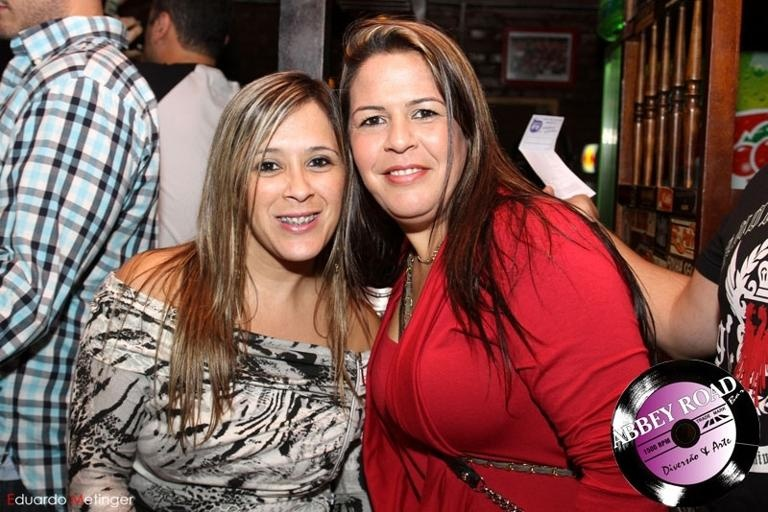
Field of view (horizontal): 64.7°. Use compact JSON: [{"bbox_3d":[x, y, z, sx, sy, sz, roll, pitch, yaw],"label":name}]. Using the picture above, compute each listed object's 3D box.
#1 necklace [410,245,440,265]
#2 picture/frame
[{"bbox_3d":[0.132,-0.001,2.129,0.023,0.058,0.077,32,8,-35],"label":"necklace"},{"bbox_3d":[1.479,-1.899,5.811,0.576,0.566,0.153,3,10,11],"label":"picture/frame"}]
